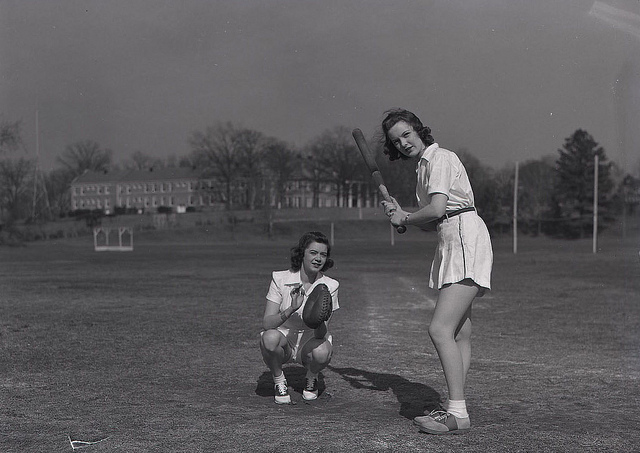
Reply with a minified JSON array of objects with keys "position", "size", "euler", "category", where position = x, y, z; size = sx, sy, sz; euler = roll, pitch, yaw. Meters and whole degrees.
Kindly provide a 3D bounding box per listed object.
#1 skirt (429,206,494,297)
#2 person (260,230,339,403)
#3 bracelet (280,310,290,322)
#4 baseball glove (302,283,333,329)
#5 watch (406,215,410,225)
[{"position":[1.279,0.245,9.759],"size":[0.542,0.794,0.346],"euler":[1,10,5],"category":"skirt"},{"position":[-0.205,0.869,10.191],"size":[0.732,1.583,0.405],"euler":[-1,10,-1],"category":"person"},{"position":[-0.340,0.843,10.123],"size":[0.094,0.118,0.043],"euler":[0,2,5],"category":"bracelet"},{"position":[0.000,0.782,10.152],"size":[0.142,0.382,0.411],"euler":[4,-11,-19],"category":"baseball glove"},{"position":[0.789,-0.061,9.731],"size":[0.015,0.078,0.037],"euler":[-4,11,-22],"category":"watch"}]
